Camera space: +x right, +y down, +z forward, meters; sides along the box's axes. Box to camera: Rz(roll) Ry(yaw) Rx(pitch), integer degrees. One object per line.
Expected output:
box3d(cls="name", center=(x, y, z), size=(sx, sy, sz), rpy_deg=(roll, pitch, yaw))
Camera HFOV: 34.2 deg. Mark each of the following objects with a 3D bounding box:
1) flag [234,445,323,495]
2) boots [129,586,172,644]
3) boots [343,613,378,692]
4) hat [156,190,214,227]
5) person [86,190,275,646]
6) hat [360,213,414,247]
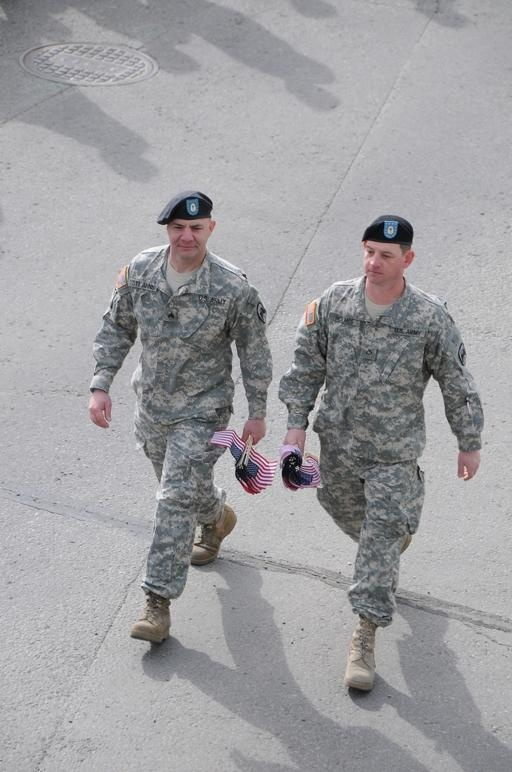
box3d(cls="flag", center=(0.080, 0.313, 2.976), size=(0.229, 0.070, 0.209), rpy_deg=(-21, 37, -20))
box3d(cls="boots", center=(-0.367, 0.843, 2.944), size=(0.130, 0.199, 0.157), rpy_deg=(6, 28, -3))
box3d(cls="boots", center=(0.370, 0.919, 2.858), size=(0.090, 0.106, 0.250), rpy_deg=(7, 38, 8))
box3d(cls="hat", center=(-0.254, -0.657, 3.094), size=(0.177, 0.127, 0.205), rpy_deg=(12, 27, 10))
box3d(cls="person", center=(-0.245, 0.086, 3.124), size=(0.609, 1.505, 0.978), rpy_deg=(4, 29, -7))
box3d(cls="hat", center=(0.470, -0.542, 2.892), size=(0.153, 0.102, 0.177), rpy_deg=(26, 32, 34))
